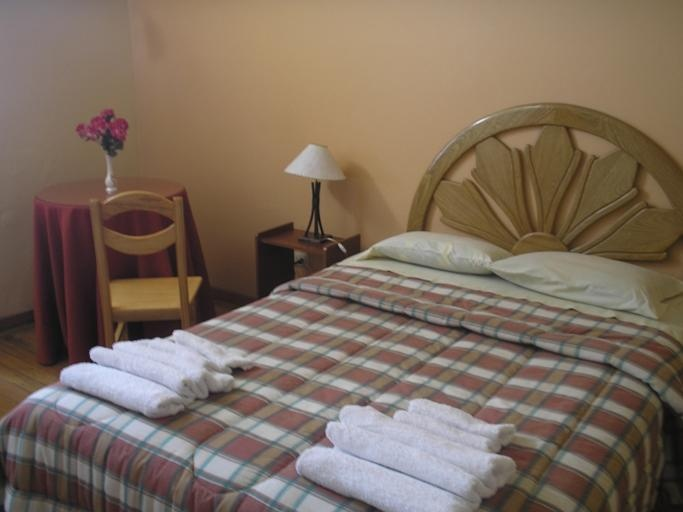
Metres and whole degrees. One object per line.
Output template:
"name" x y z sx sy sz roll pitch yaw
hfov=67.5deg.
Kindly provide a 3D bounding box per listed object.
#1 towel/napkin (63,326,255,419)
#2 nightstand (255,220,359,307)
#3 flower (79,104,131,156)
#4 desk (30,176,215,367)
"towel/napkin" -0.570 0.375 1.712 0.336 0.086 0.332 8 10 33
"nightstand" -0.253 -0.018 3.298 0.678 0.599 0.480 8 22 26
"flower" -1.380 -0.708 3.156 0.372 0.361 0.354 -8 17 -27
"desk" -1.463 0.048 3.140 0.726 0.710 0.741 -7 12 -41
